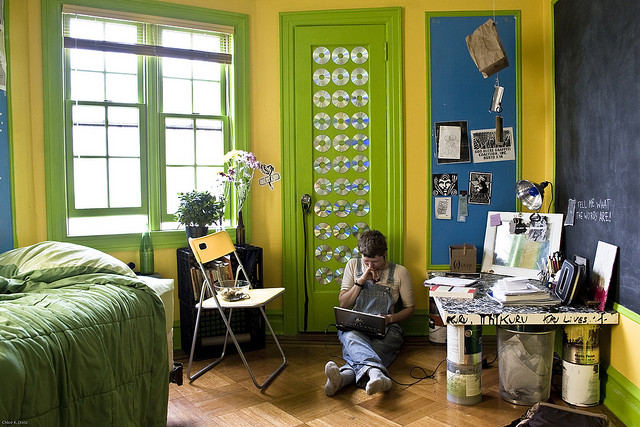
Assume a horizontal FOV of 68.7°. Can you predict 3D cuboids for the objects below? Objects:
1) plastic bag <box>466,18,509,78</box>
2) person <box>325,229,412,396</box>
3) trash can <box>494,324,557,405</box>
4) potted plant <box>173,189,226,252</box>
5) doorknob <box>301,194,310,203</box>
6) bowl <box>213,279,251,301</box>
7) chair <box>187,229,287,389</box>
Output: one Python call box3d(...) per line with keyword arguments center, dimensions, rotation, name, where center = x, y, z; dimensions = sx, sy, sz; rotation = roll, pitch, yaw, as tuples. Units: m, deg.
box3d(center=(1.615, -1.724, 4.779), dimensions=(0.390, 0.401, 0.383), rotation=(-42, 26, -27), name="plastic bag")
box3d(center=(0.483, 0.889, 4.454), dimensions=(0.749, 1.278, 1.776), rotation=(1, 8, 14), name="person")
box3d(center=(1.739, 1.259, 4.048), dimensions=(0.459, 0.689, 0.556), rotation=(-1, 3, -42), name="trash can")
box3d(center=(-1.299, 0.085, 4.928), dimensions=(0.428, 0.488, 0.382), rotation=(5, 3, -1), name="potted plant")
box3d(center=(-0.174, -0.170, 5.144), dimensions=(0.076, 0.080, 0.026), rotation=(16, 0, 13), name="doorknob")
box3d(center=(-0.810, 0.692, 4.318), dimensions=(0.327, 0.133, 0.287), rotation=(-4, 12, -14), name="bowl")
box3d(center=(-0.803, 0.859, 4.462), dimensions=(0.899, 1.369, 0.893), rotation=(1, 5, 38), name="chair")
